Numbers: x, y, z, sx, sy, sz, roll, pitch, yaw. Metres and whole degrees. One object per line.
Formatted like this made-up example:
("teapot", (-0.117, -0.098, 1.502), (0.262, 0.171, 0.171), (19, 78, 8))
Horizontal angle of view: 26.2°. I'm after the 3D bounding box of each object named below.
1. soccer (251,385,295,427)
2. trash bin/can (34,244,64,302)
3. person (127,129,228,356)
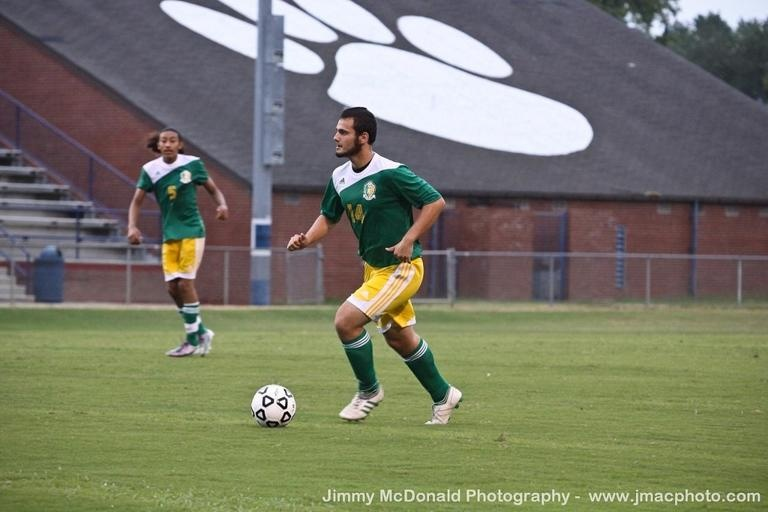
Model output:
("soccer", (-1.514, 1.935, 22.194), (0.631, 0.524, 0.548), (7, -12, -1))
("trash bin/can", (-6.387, 0.299, 31.216), (0.606, 1.024, 0.451), (1, -4, -23))
("person", (-3.165, -0.235, 25.314), (1.349, 3.405, 0.392), (0, -4, -5))
